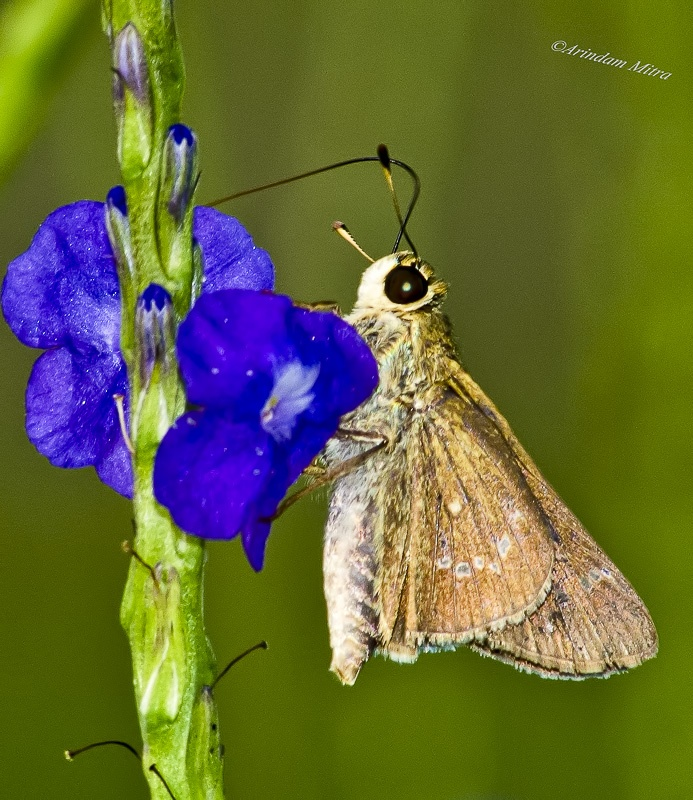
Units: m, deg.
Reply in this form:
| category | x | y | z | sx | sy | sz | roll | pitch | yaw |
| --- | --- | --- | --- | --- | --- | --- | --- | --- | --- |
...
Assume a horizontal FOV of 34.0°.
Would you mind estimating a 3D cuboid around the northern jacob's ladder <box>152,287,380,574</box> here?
| category | x | y | z | sx | sy | sz | roll | pitch | yaw |
| --- | --- | --- | --- | --- | --- | --- | --- | --- | --- |
| northern jacob's ladder | -0.079 | 0.003 | 0.906 | 0.118 | 0.275 | 0.131 | -10 | 20 | -26 |
